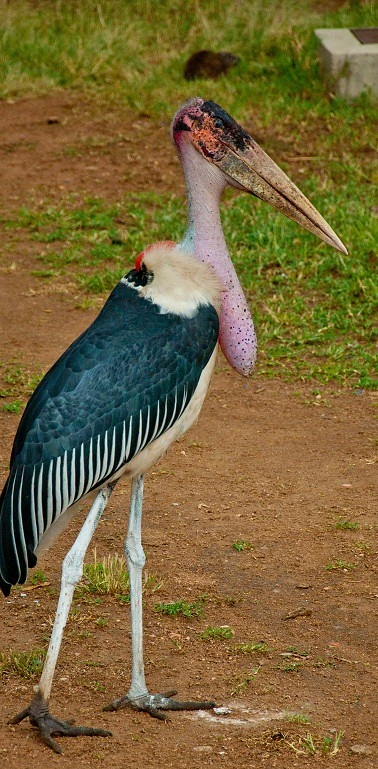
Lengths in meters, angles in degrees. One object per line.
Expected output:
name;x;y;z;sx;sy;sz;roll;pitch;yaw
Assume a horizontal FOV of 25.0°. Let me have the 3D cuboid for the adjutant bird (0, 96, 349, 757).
adjutant bird;-0.202;0.014;2.924;0.553;1.982;1.308;11;17;29
